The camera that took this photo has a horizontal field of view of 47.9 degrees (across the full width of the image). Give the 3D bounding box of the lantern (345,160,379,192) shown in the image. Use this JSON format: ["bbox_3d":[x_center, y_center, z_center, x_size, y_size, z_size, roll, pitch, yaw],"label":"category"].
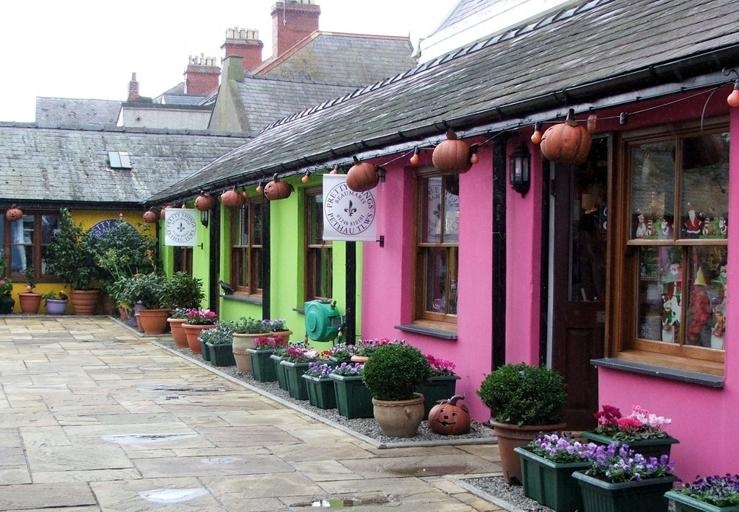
[{"bbox_3d":[-0.073,-0.988,10.861,0.379,0.334,0.378,-20,-11,24],"label":"lantern"}]

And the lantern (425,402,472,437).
[{"bbox_3d":[0.890,1.838,9.344,0.380,0.347,0.380,11,-10,-40],"label":"lantern"}]

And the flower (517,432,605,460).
[{"bbox_3d":[1.658,1.685,7.301,0.331,0.104,0.352,-5,6,-34],"label":"flower"}]

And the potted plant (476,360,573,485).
[{"bbox_3d":[1.583,1.577,8.354,0.981,1.257,1.111,-1,1,4],"label":"potted plant"}]

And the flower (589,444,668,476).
[{"bbox_3d":[2.127,1.714,6.868,0.404,0.126,0.351,-3,8,-22],"label":"flower"}]

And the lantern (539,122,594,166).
[{"bbox_3d":[1.817,-1.023,7.849,0.392,0.350,0.392,5,-3,-37],"label":"lantern"}]

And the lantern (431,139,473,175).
[{"bbox_3d":[0.892,-1.087,9.212,0.380,0.348,0.378,-6,6,-38],"label":"lantern"}]

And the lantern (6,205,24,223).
[{"bbox_3d":[-9.141,-1.083,21.722,0.443,0.562,0.426,-2,-1,31],"label":"lantern"}]

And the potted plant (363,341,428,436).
[{"bbox_3d":[0.311,1.511,9.458,0.962,1.099,0.890,0,-2,-16],"label":"potted plant"}]

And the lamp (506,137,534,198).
[{"bbox_3d":[1.636,-0.943,9.222,0.208,0.573,0.241,3,-2,-27],"label":"lamp"}]
